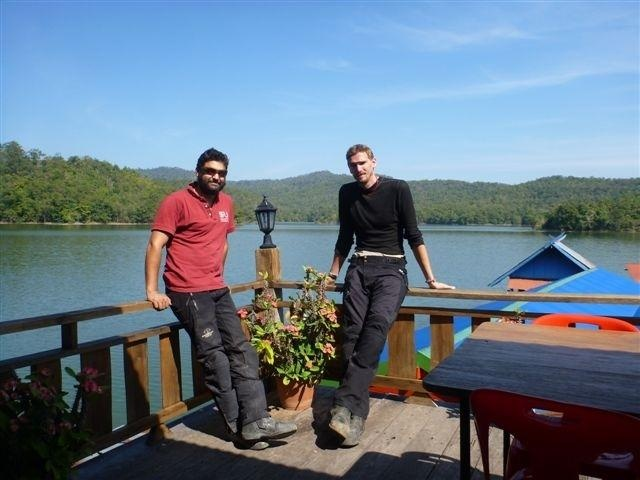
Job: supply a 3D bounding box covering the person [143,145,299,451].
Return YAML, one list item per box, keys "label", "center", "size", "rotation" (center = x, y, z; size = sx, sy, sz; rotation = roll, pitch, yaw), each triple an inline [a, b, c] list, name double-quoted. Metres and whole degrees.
- label: "person"
  center: [-0.805, 0.456, 3.149]
  size: [0.906, 2.232, 0.383]
  rotation: [-3, -2, -22]

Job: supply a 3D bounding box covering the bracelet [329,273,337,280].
- label: "bracelet"
  center: [0.115, 0.347, 3.972]
  size: [0.070, 0.039, 0.050]
  rotation: [3, 3, 12]

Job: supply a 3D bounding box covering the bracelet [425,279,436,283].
- label: "bracelet"
  center: [0.964, 0.372, 3.743]
  size: [0.052, 0.030, 0.060]
  rotation: [-2, -5, -5]

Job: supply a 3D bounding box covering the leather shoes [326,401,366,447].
- label: "leather shoes"
  center: [0.199, 1.383, 3.065]
  size: [0.237, 0.231, 0.193]
  rotation: [-3, -2, 4]

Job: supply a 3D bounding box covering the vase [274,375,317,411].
- label: "vase"
  center: [-0.220, 1.409, 3.793]
  size: [0.317, 0.203, 0.306]
  rotation: [2, -8, -10]
